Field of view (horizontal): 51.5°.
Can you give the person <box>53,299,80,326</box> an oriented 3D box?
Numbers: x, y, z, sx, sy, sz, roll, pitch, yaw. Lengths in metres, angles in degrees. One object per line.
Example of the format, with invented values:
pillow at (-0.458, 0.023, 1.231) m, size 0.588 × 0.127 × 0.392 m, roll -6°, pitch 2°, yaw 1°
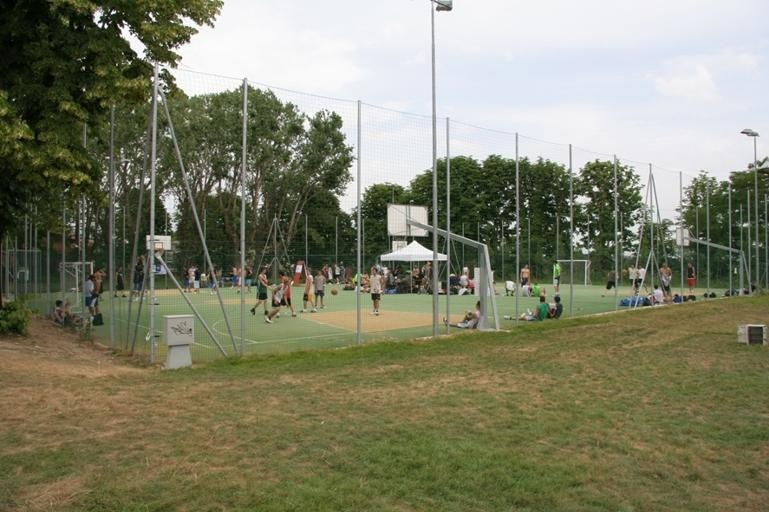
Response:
person at (-11.627, 2.106, 29.403) m, size 0.731 × 0.922 × 1.862 m, roll 3°, pitch -5°, yaw -35°
